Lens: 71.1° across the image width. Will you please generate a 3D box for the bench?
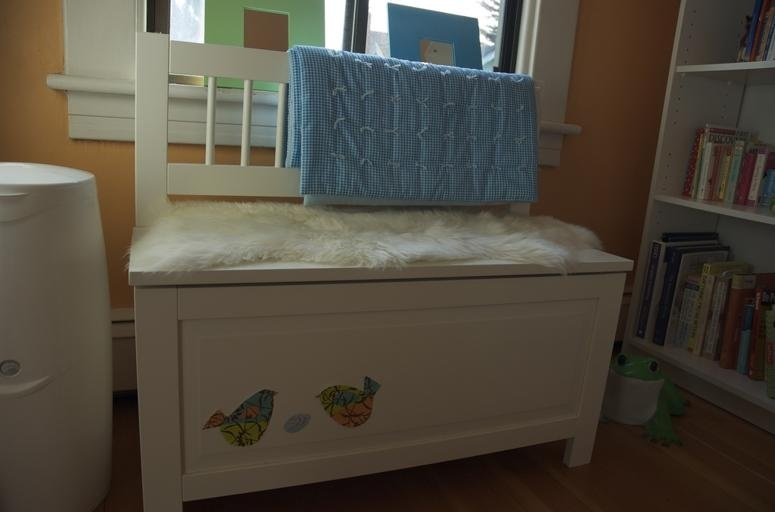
[{"bbox_3d":[-0.065,0.083,1.633,1.381,1.245,0.582,-3,16,-17],"label":"bench"}]
